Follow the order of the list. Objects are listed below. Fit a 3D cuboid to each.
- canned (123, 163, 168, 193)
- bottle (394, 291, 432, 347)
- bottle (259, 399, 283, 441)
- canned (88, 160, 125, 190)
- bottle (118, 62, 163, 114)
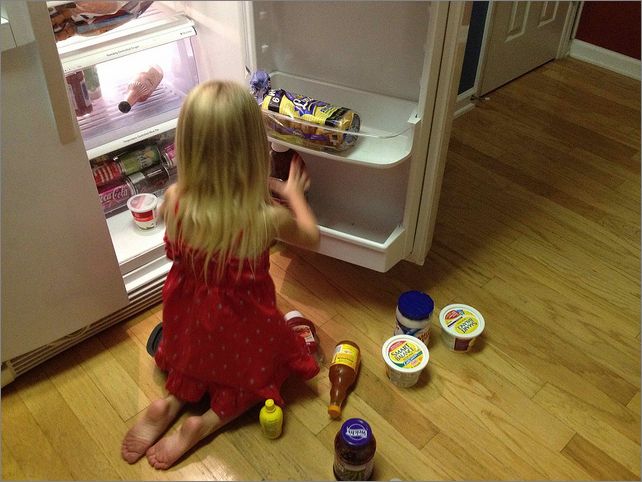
[{"bbox_3d":[-0.715,-0.256,1.752,0.137,0.084,0.087,-26,90,-41],"label":"canned"},{"bbox_3d":[0.314,0.269,1.481,0.105,0.159,0.108,2,37,-1],"label":"bottle"},{"bbox_3d":[-0.152,0.544,1.319,0.068,0.109,0.069,-1,46,1],"label":"bottle"},{"bbox_3d":[-0.812,-0.252,1.634,0.072,0.074,0.125,36,56,25],"label":"canned"},{"bbox_3d":[-0.673,-0.574,1.699,0.080,0.083,0.257,27,56,4],"label":"bottle"}]
